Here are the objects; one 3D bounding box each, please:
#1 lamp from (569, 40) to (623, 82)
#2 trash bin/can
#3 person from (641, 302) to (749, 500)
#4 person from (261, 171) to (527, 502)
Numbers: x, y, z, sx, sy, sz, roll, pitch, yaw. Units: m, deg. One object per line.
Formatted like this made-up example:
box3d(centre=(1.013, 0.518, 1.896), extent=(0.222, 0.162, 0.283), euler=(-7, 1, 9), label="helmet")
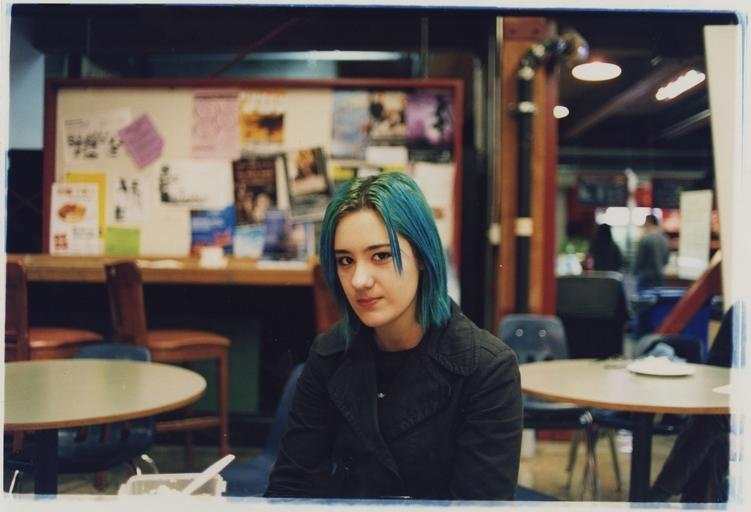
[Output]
box3d(centre=(1.130, -0.958, 4.569), extent=(0.201, 0.113, 0.321), euler=(1, 2, -6), label="lamp")
box3d(centre=(1.356, 0.331, 4.735), extent=(0.522, 0.680, 0.553), euler=(3, -14, -10), label="trash bin/can")
box3d(centre=(1.578, 0.714, 4.342), extent=(0.417, 0.965, 0.276), euler=(2, 2, 17), label="person")
box3d(centre=(0.098, 0.386, 4.019), extent=(1.125, 1.519, 0.338), euler=(2, 2, 22), label="person")
